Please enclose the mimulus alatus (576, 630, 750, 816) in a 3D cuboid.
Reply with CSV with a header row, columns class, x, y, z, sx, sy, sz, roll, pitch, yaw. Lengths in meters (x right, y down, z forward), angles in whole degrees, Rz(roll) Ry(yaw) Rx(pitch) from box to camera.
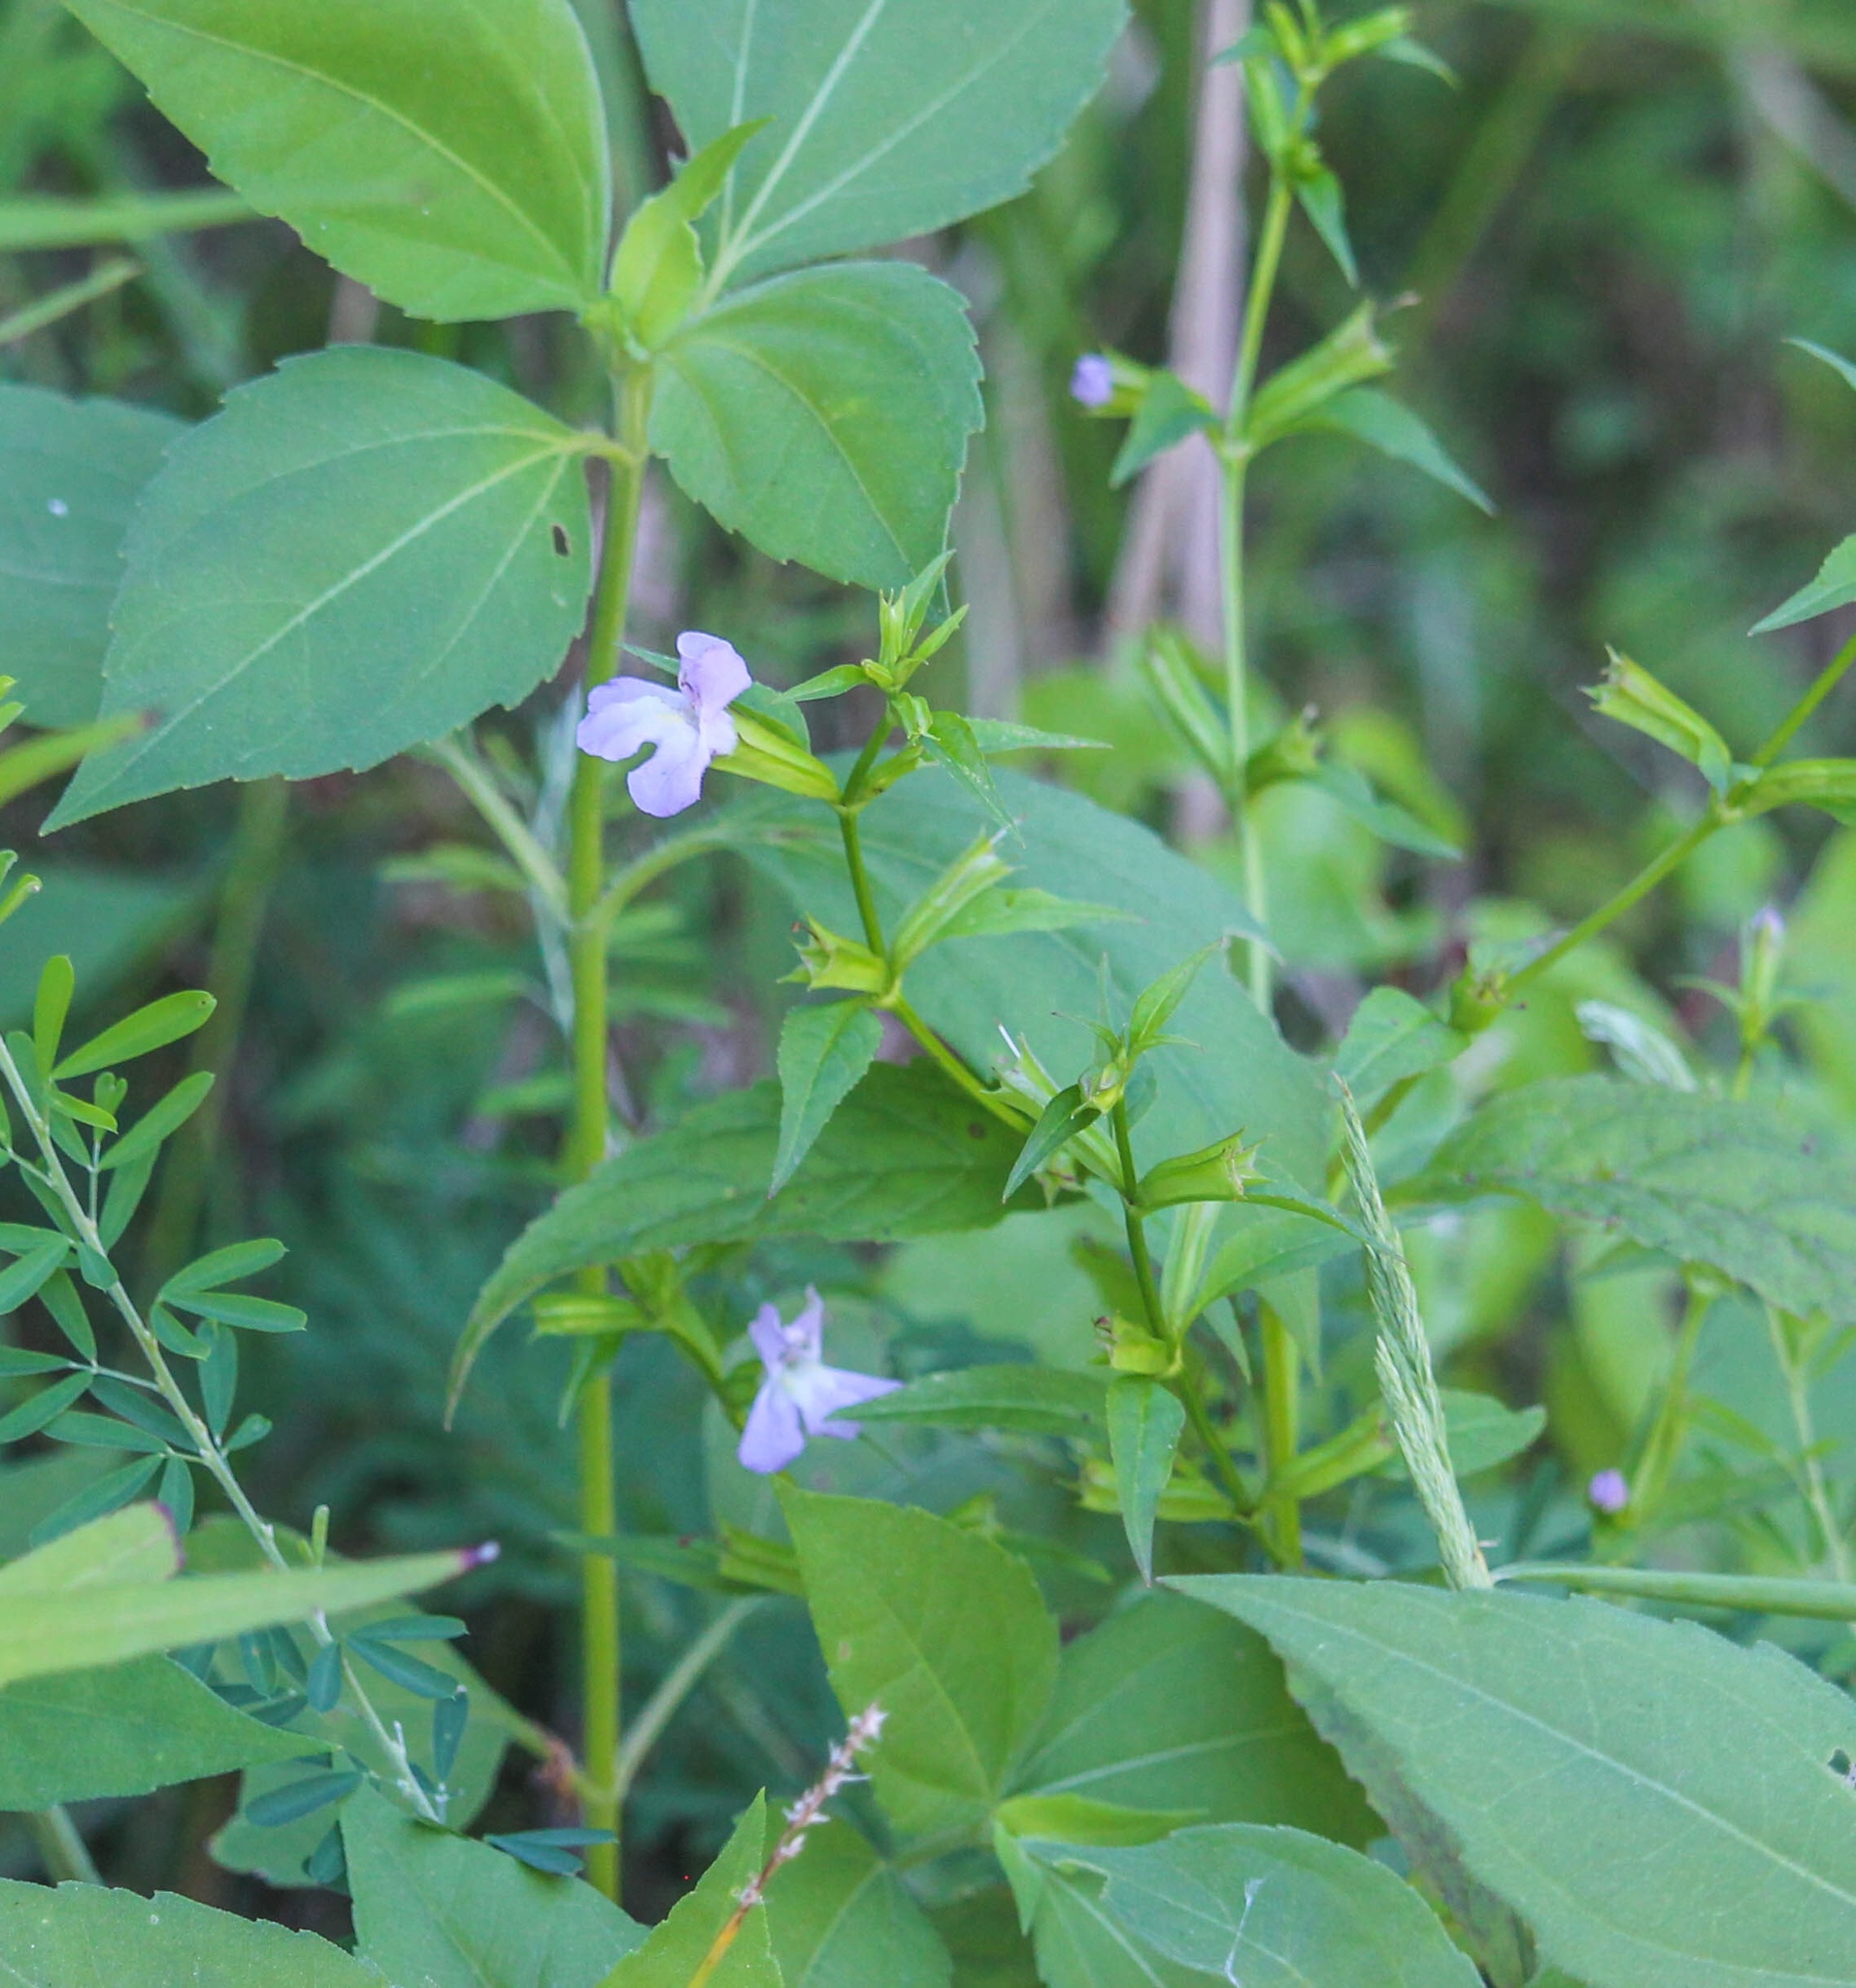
class,x,y,z,sx,sy,sz,roll,pitch,yaw
mimulus alatus,-0.071,-0.073,0.601,0.044,0.048,0.071,7,30,3
